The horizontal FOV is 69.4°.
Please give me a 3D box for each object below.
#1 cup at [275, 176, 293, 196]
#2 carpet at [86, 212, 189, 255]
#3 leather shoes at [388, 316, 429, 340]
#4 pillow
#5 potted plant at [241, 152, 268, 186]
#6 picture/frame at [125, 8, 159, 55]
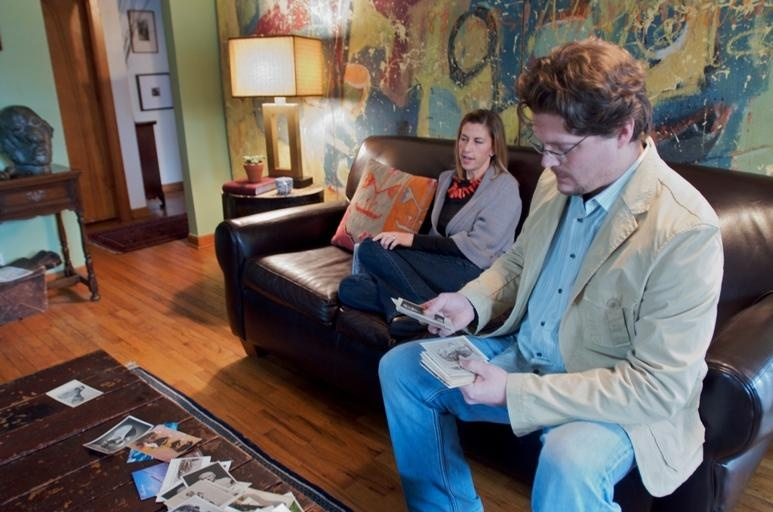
[{"bbox_3d":[-0.708,-0.487,3.926,0.130,0.102,0.125,-3,21,1],"label":"cup"},{"bbox_3d":[-2.256,-0.239,5.270,0.958,0.039,0.912,-20,28,-40],"label":"carpet"},{"bbox_3d":[0.089,0.334,2.580,0.117,0.045,0.119,21,14,36],"label":"leather shoes"},{"bbox_3d":[0.001,-0.280,3.138,0.540,0.508,0.167,19,-3,39],"label":"pillow"},{"bbox_3d":[-0.962,-0.643,4.164,0.231,0.233,0.207,-3,5,-8],"label":"potted plant"},{"bbox_3d":[-2.606,-2.390,5.936,0.044,0.589,0.488,16,23,27],"label":"picture/frame"}]
